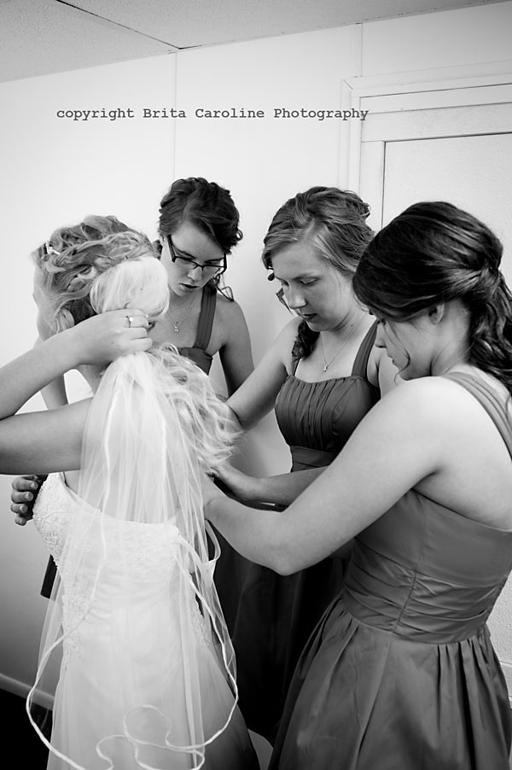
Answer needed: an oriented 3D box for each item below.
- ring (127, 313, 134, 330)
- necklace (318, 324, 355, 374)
[{"bbox_3d":[-0.234,-0.119,1.194,0.007,0.020,0.014,1,0,35],"label":"ring"},{"bbox_3d":[0.222,-0.101,1.795,0.024,0.095,0.089,9,7,-39],"label":"necklace"}]
